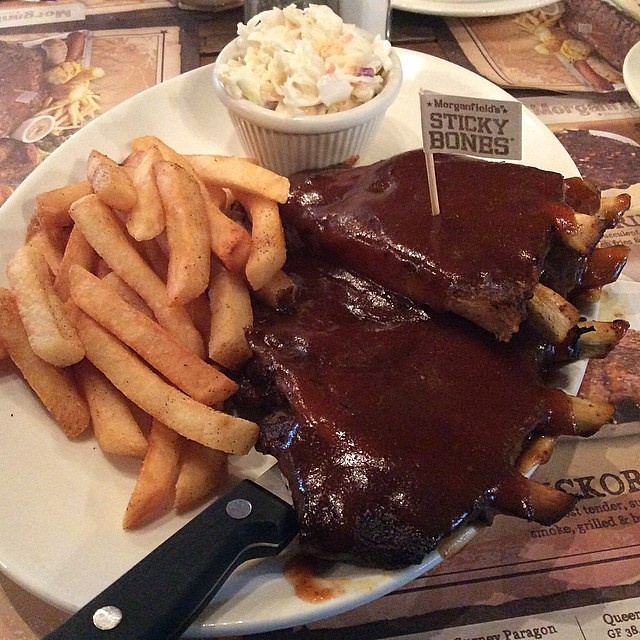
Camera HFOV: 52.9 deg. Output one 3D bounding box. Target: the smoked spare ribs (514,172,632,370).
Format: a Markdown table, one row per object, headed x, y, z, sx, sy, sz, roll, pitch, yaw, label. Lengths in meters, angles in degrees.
| x | y | z | sx | sy | sz | roll | pitch | yaw | label |
| --- | --- | --- | --- | --- | --- | --- | --- | --- | --- |
| 0.681 | -0.112 | 1.721 | 0.400 | 0.205 | 0.472 | -1 | 88 | -36 | smoked spare ribs |

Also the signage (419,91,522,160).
| x | y | z | sx | sy | sz | roll | pitch | yaw | label |
| --- | --- | --- | --- | --- | --- | --- | --- | --- | --- |
| 0.387 | -0.496 | 1.669 | 0.299 | 0.160 | 0.025 | 20 | 47 | 38 | signage |

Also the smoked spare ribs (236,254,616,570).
| x | y | z | sx | sy | sz | roll | pitch | yaw | label |
| --- | --- | --- | --- | --- | --- | --- | --- | --- | --- |
| 0.205 | 0.206 | 1.645 | 0.757 | 0.273 | 0.794 | -17 | 50 | -15 | smoked spare ribs |
